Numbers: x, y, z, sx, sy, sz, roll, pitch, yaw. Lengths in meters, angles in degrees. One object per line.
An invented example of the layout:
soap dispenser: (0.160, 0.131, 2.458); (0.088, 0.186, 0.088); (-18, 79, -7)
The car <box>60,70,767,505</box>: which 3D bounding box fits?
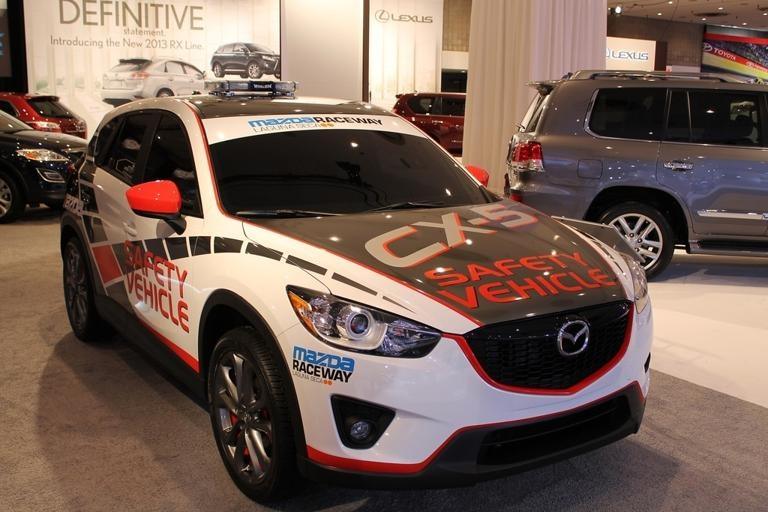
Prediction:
car: (-0.660, 0.015, 3.511); (2.090, 1.505, 3.933); (-7, 15, -34)
